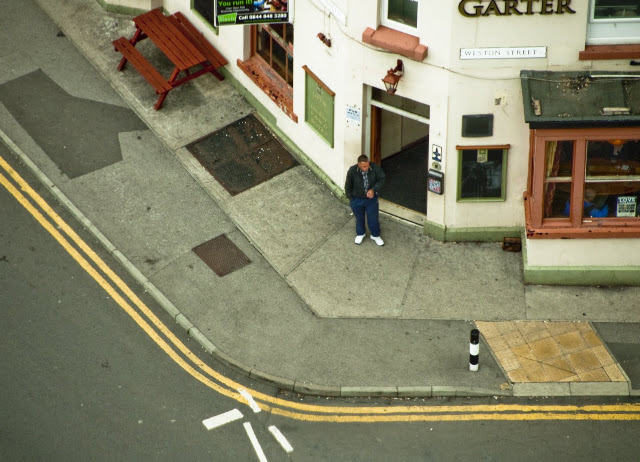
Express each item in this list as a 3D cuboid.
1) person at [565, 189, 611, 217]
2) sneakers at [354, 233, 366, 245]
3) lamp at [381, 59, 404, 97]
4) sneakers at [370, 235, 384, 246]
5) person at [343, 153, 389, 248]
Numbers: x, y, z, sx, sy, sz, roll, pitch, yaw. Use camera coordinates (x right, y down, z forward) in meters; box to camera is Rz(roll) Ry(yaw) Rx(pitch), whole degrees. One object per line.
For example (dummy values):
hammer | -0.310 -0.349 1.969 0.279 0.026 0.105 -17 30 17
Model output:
person | 5.772 -0.567 22.956 0.959 0.335 0.824 -5 32 -7
sneakers | 0.910 0.165 24.302 0.133 0.124 0.278 20 42 14
lamp | 1.570 -3.222 22.962 0.453 0.760 0.400 1 40 15
sneakers | 1.305 0.199 24.248 0.159 0.132 0.320 -41 62 -16
person | 1.040 -0.682 23.793 0.868 2.247 0.588 -9 38 1
